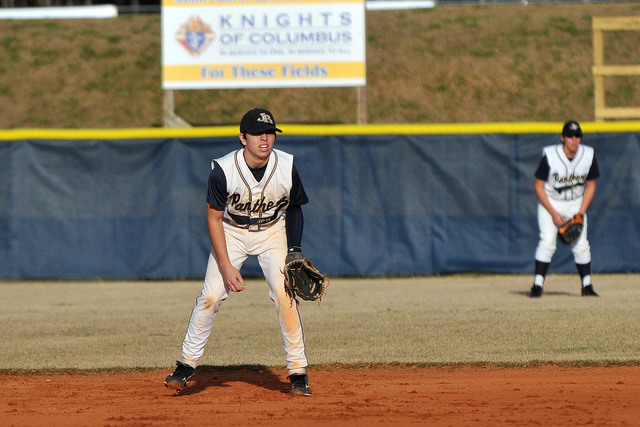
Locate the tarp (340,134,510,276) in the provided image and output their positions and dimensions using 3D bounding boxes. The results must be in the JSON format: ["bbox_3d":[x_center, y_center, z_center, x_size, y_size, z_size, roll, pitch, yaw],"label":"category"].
[{"bbox_3d":[2.071,-0.275,27.756,3.208,2.851,1.549,2,-13,-5],"label":"tarp"}]

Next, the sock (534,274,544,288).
[{"bbox_3d":[4.137,1.276,27.213,0.117,0.266,0.116,4,9,7],"label":"sock"}]

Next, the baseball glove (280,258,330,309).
[{"bbox_3d":[-0.308,1.133,24.040,0.571,0.800,0.313,-7,17,-18],"label":"baseball glove"}]

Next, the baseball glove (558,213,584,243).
[{"bbox_3d":[4.774,0.290,27.118,0.568,0.325,0.205,-49,6,-3],"label":"baseball glove"}]

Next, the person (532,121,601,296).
[{"bbox_3d":[4.651,-0.054,27.176,1.242,3.255,0.840,-2,15,8],"label":"person"}]
